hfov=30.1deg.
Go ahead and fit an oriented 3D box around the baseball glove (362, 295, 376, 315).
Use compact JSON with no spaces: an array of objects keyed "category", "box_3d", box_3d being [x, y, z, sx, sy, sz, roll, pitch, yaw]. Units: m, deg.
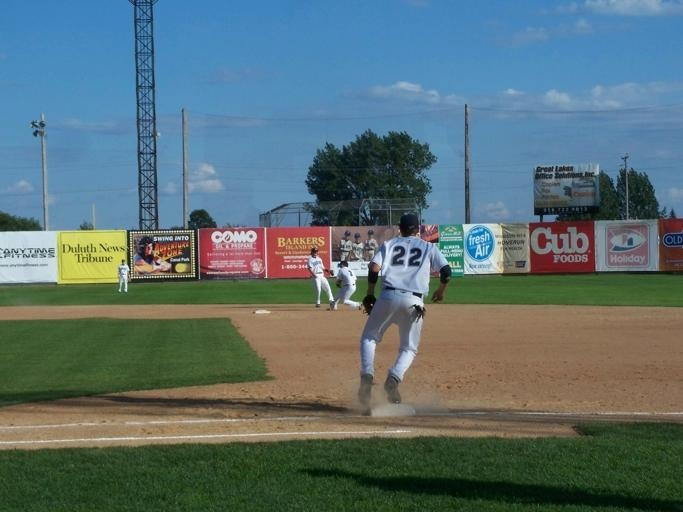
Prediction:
[{"category":"baseball glove","box_3d":[0.485,0.892,22.778,0.242,0.328,0.118,-7,-13,43]}]
